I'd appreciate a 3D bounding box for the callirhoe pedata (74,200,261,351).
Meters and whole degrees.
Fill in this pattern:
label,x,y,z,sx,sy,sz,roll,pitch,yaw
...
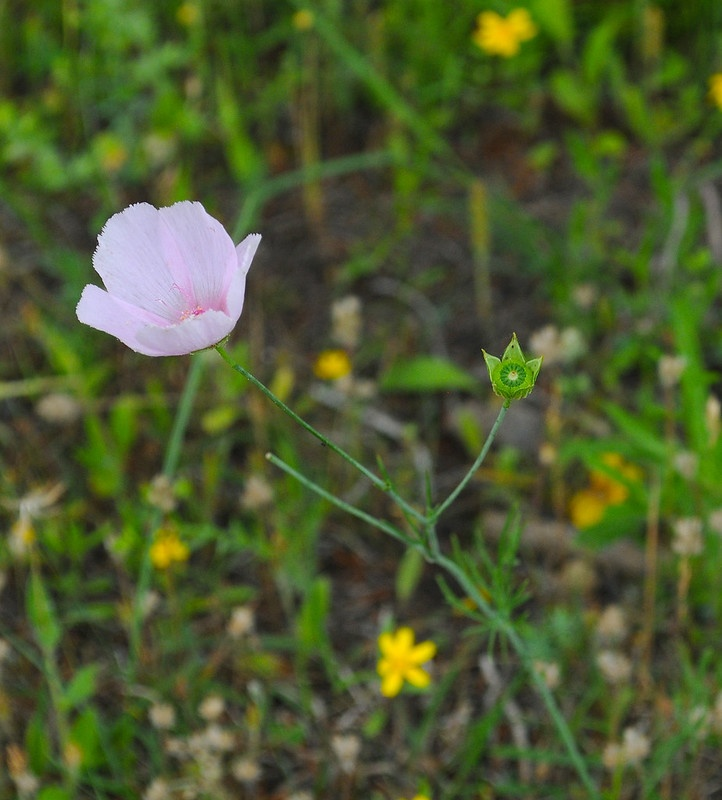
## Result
label,x,y,z,sx,sy,sz,roll,pitch,yaw
callirhoe pedata,-0.166,-0.100,0.793,0.141,0.066,0.130,14,64,6

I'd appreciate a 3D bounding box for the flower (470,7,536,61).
label,x,y,z,sx,sy,sz,roll,pitch,yaw
flower,0.174,-0.444,1.126,0.064,0.013,0.065,25,98,-9

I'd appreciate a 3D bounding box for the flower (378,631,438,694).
label,x,y,z,sx,sy,sz,roll,pitch,yaw
flower,0.044,0.262,0.933,0.056,0.063,0.066,5,63,0
